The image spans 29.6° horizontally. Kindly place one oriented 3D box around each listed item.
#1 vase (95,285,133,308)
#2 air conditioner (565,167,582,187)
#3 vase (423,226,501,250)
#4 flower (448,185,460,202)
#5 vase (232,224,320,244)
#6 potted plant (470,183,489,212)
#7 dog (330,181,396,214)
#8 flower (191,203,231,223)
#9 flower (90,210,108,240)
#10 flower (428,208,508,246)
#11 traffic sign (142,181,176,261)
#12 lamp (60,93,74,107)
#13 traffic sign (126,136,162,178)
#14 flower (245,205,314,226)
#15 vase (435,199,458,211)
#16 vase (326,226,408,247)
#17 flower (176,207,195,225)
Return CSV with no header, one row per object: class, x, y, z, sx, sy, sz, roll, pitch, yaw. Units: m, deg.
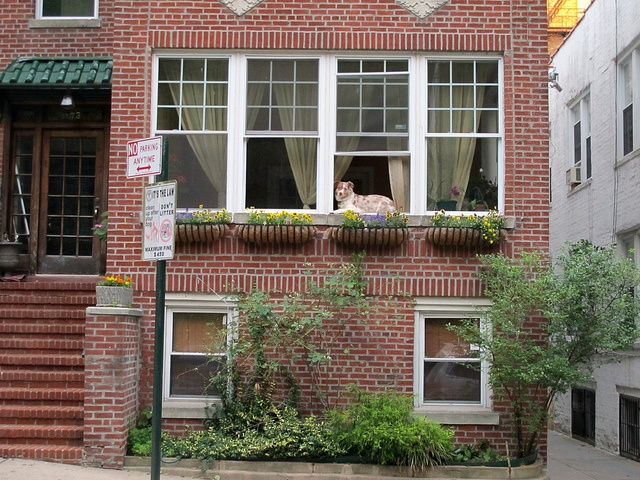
vase,-3.499,0.994,20.344,0.398,0.274,0.395,10,-14,-39
air conditioner,5.716,-1.408,27.270,0.278,0.590,0.399,1,1,-7
vase,2.395,-0.034,20.756,1.120,0.347,0.317,2,-2,5
flower,2.393,-0.806,21.145,0.169,0.240,0.094,-2,-2,-12
vase,-0.735,-0.123,20.722,1.356,0.303,0.223,2,-2,-4
potted plant,2.794,-0.724,21.120,0.358,0.520,0.360,-3,-10,15
dog,0.745,-0.729,21.144,1.247,0.645,0.485,2,-11,-2
flower,-1.872,-0.427,20.909,0.722,0.305,0.367,2,-2,-8
flower,-3.855,-0.241,21.638,0.194,0.507,0.462,6,2,-32
flower,2.482,-0.156,21.279,1.507,0.610,1.547,0,6,-17
traffic sign,-2.358,-0.287,17.795,0.599,1.130,0.163,0,-2,31
lamp,-4.662,-2.539,22.313,0.192,0.343,0.194,5,-15,-31
traffic sign,-2.630,-1.219,18.183,0.665,0.618,0.029,-7,-9,41
flower,-0.675,-0.366,20.788,1.111,0.234,0.250,2,-2,-4
vase,2.229,-0.601,21.111,0.206,0.217,0.219,-3,-12,16
vase,0.828,-0.075,20.739,1.396,0.296,0.331,2,-2,-7
flower,-2.311,-0.393,20.861,0.214,0.239,0.108,-3,-41,-5
